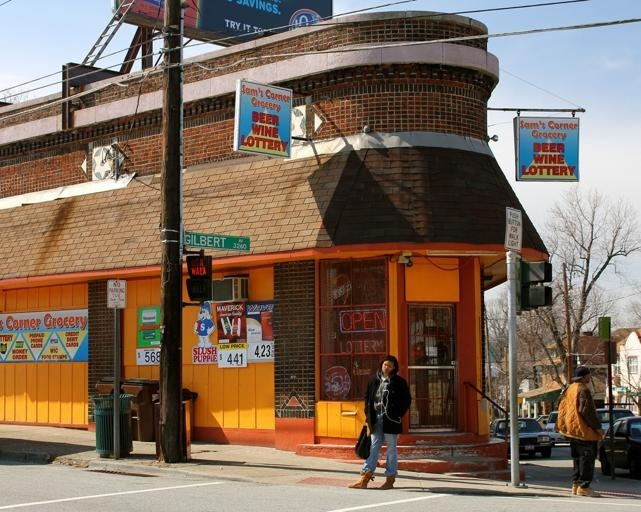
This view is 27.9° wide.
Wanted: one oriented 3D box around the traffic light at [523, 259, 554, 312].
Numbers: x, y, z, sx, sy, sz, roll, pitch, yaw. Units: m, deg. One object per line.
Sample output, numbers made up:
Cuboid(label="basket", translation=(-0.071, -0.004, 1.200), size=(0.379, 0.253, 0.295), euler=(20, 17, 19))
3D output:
Cuboid(label="traffic light", translation=(4.425, 0.549, 26.772), size=(0.646, 1.027, 0.790), euler=(-3, -9, 8))

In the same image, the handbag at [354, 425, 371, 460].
Cuboid(label="handbag", translation=(0.853, 3.792, 26.252), size=(0.315, 0.696, 0.658), euler=(-2, -9, 1))

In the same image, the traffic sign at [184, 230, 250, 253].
Cuboid(label="traffic sign", translation=(-2.342, -0.333, 29.052), size=(0.259, 0.375, 1.982), euler=(-9, -12, 40))

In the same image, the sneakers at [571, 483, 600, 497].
Cuboid(label="sneakers", translation=(5.377, 4.803, 26.464), size=(0.583, 0.255, 0.211), euler=(1, -5, -7))

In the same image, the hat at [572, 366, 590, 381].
Cuboid(label="hat", translation=(5.427, 2.444, 26.978), size=(0.250, 0.183, 0.357), euler=(-1, 11, 44))

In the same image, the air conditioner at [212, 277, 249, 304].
Cuboid(label="air conditioner", translation=(-2.185, 0.972, 31.528), size=(1.040, 0.730, 0.550), euler=(-4, -7, 37))

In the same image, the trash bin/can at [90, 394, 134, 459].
Cuboid(label="trash bin/can", translation=(-4.646, 3.841, 28.968), size=(1.364, 1.320, 1.403), euler=(-2, -5, -4))

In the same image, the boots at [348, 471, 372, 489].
Cuboid(label="boots", translation=(0.802, 4.522, 26.010), size=(0.473, 0.325, 0.262), euler=(-2, -9, 0))

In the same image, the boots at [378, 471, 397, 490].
Cuboid(label="boots", translation=(1.363, 4.569, 25.994), size=(0.357, 0.353, 0.175), euler=(9, -9, -27))

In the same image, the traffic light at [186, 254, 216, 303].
Cuboid(label="traffic light", translation=(-2.670, 0.433, 28.212), size=(0.564, 1.123, 0.430), euler=(-2, -9, 4))
